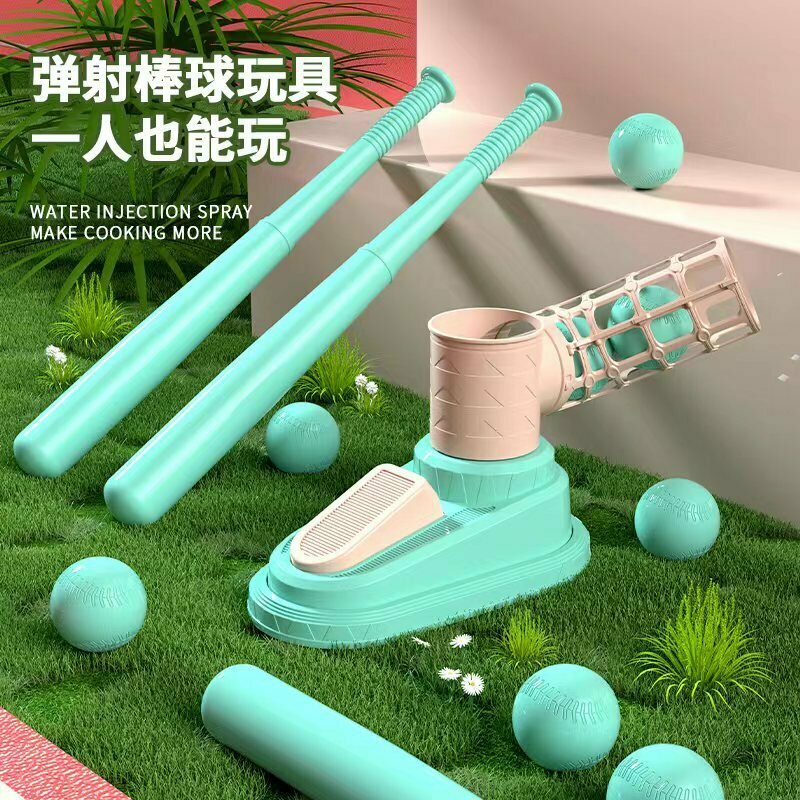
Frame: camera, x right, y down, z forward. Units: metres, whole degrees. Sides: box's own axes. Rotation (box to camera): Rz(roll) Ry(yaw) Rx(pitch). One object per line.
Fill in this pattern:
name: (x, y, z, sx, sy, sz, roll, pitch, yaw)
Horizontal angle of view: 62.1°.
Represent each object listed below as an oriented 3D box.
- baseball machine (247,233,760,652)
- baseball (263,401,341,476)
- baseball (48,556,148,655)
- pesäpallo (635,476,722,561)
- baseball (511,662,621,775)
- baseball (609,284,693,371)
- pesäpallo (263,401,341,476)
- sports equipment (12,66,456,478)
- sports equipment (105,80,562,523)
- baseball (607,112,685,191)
baseball machine: (0.281, -0.030, 1.699, 1.455, 0.814, 0.523, -17, 26, -25)
baseball: (-0.252, 0.096, 1.847, 0.181, 0.198, 0.186, 1, -1, 12)
baseball: (-0.476, 0.322, 1.119, 0.153, 0.163, 0.149, 4, -8, -12)
pesäpallo: (0.593, 0.250, 1.460, 0.163, 0.178, 0.176, 11, 48, 29)
baseball: (0.213, 0.393, 0.894, 0.123, 0.135, 0.130, 4, -1, 2)
baseball: (0.551, -0.188, 1.571, 0.175, 0.218, 0.183, -12, 11, 13)
pesäpallo: (-0.251, 0.095, 1.845, 0.181, 0.198, 0.186, 1, -1, 12)
sports equipment: (-0.562, -0.457, 2.260, 2.496, 0.274, 0.253, -47, 29, -20)
sports equipment: (-0.172, -0.320, 1.960, 2.126, 0.269, 0.267, -47, 29, -18)
baseball: (0.679, -0.690, 1.918, 0.200, 0.217, 0.204, 0, 12, 5)
